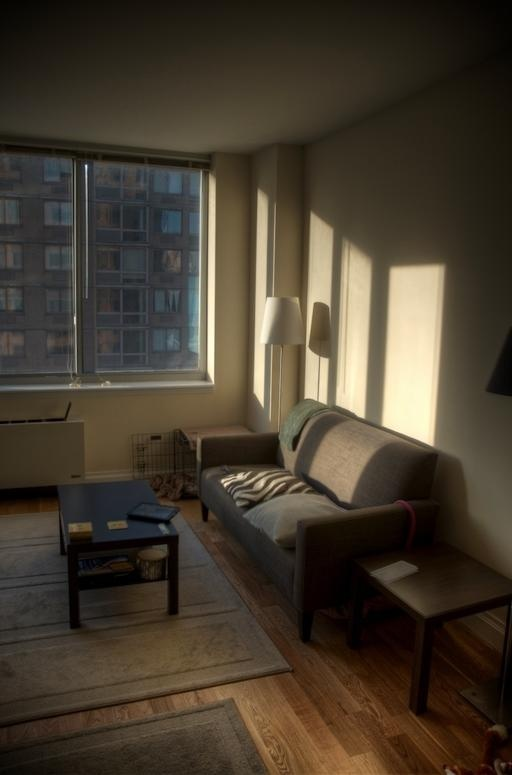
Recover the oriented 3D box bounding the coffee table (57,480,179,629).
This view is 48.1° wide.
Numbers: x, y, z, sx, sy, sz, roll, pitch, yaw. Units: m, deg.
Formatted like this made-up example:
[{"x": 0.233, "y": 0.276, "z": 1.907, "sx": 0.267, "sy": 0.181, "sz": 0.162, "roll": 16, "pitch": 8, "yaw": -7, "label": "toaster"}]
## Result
[{"x": -0.678, "y": 0.856, "z": 2.715, "sx": 0.409, "sy": 0.397, "sz": 0.831, "roll": 1, "pitch": 6, "yaw": -17, "label": "coffee table"}]
